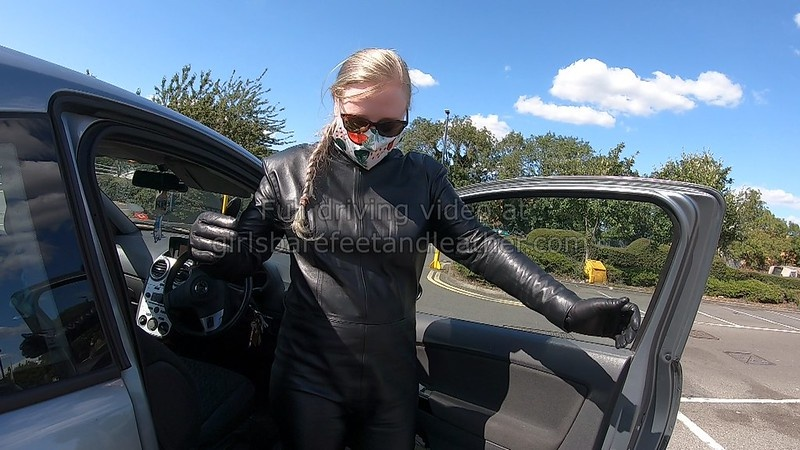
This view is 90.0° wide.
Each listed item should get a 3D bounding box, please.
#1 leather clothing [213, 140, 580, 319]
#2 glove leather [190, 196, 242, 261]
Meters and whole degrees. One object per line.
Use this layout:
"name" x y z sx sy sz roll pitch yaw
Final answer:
"leather clothing" -0.186 0.038 2.173 2.303 1.014 0.611 0 7 -2
"glove leather" -0.911 0.067 1.982 0.256 0.237 0.104 12 7 23
